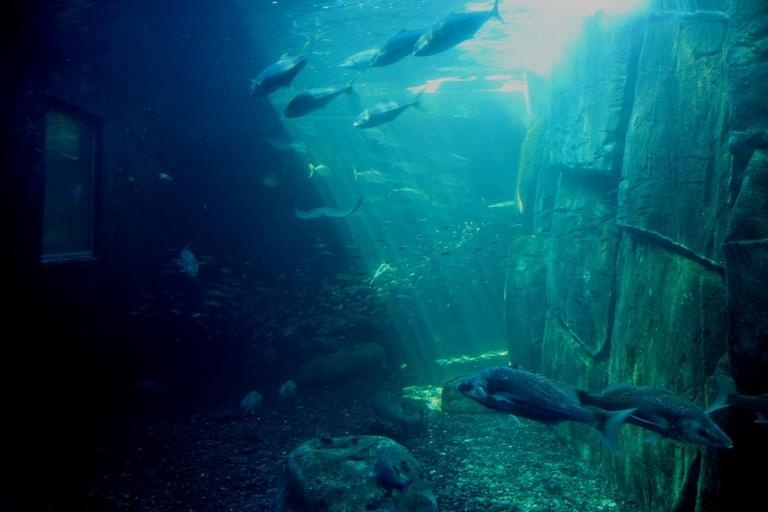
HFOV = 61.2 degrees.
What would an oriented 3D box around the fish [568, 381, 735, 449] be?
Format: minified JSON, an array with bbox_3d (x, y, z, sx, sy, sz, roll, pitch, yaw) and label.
[{"bbox_3d":[4.557,2.550,10.599,2.871,0.784,1.030,13,-15,26],"label":"fish"}]

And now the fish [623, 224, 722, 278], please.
[{"bbox_3d":[5.501,-0.152,12.195,0.285,0.345,2.253,-31,50,-26],"label":"fish"}]

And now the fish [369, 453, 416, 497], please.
[{"bbox_3d":[0.098,3.825,11.367,0.308,0.493,0.937,-11,30,-41],"label":"fish"}]
